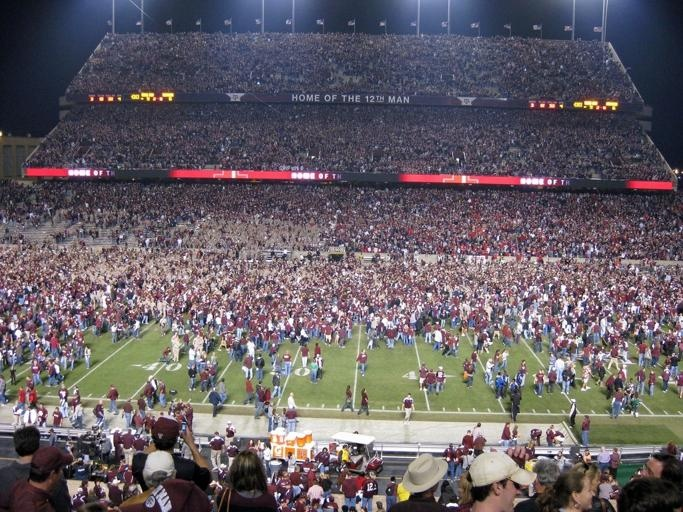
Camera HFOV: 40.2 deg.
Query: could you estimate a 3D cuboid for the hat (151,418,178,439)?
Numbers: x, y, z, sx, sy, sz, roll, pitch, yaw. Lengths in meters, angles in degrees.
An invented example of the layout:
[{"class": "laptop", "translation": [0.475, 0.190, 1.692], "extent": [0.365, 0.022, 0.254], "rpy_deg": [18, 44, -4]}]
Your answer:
[{"class": "hat", "translation": [-7.328, 7.128, 38.668], "extent": [0.686, 1.037, 0.340], "rpy_deg": [5, -35, -6]}]
